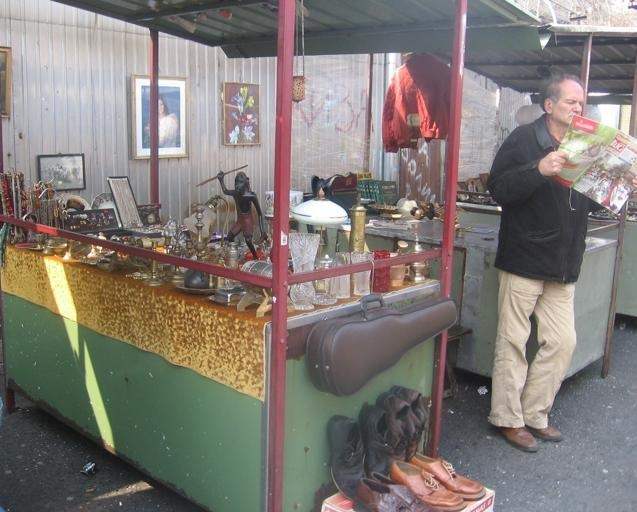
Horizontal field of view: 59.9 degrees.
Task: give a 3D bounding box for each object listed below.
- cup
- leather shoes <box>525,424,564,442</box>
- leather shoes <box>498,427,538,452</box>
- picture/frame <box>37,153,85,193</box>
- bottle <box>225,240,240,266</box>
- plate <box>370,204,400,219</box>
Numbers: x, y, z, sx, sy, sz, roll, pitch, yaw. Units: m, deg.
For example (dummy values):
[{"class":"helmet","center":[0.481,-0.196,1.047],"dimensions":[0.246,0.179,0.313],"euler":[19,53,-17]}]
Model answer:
[{"class":"cup","center":[0.089,0.044,2.495],"dimensions":[0.403,0.193,0.267],"euler":[-6,18,-23]},{"class":"leather shoes","center":[1.444,1.117,3.518],"dimensions":[0.201,0.102,0.073],"euler":[-1,3,25]},{"class":"leather shoes","center":[1.247,1.118,3.443],"dimensions":[0.085,0.102,0.224],"euler":[-4,1,-24]},{"class":"picture/frame","center":[-2.257,-0.738,4.817],"dimensions":[0.032,0.373,0.428],"euler":[8,13,41]},{"class":"bottle","center":[-0.408,-0.021,2.675],"dimensions":[0.086,0.157,0.086],"euler":[0,0,0]},{"class":"plate","center":[0.580,-0.383,4.740],"dimensions":[0.241,0.106,0.328],"euler":[3,14,4]}]
